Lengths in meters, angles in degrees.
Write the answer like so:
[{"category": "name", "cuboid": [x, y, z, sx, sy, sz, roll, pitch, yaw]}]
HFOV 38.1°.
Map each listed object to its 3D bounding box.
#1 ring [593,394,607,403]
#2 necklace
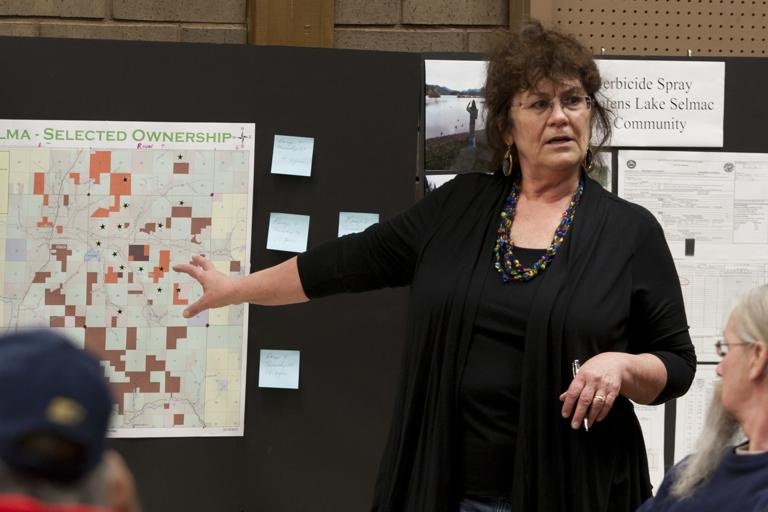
[{"category": "ring", "cuboid": [0.698, 0.460, 3.572, 0.022, 0.013, 0.026, 5, -35, -1]}, {"category": "necklace", "cuboid": [0.486, -0.101, 3.817, 0.241, 0.402, 0.086, 4, -18, 21]}]
